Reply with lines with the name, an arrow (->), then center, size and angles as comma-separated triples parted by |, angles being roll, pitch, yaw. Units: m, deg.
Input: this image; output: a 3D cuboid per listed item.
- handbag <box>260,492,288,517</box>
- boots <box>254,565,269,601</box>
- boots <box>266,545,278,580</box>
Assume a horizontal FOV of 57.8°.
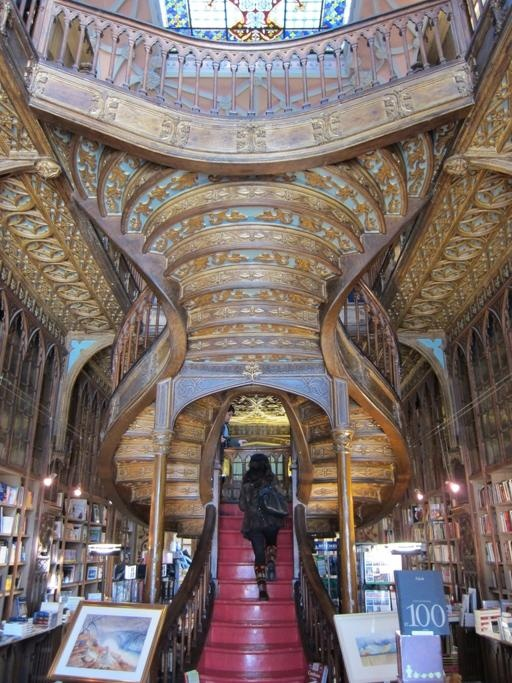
handbag -> 0.219, 1.842, 5.210 | 0.315, 0.278, 0.125 | 13, -26, -30
boots -> 0.065, 2.604, 5.025 | 0.127, 0.394, 0.268 | -2, 6, 2
boots -> 0.168, 2.502, 5.222 | 0.112, 0.341, 0.241 | -1, -9, -4
